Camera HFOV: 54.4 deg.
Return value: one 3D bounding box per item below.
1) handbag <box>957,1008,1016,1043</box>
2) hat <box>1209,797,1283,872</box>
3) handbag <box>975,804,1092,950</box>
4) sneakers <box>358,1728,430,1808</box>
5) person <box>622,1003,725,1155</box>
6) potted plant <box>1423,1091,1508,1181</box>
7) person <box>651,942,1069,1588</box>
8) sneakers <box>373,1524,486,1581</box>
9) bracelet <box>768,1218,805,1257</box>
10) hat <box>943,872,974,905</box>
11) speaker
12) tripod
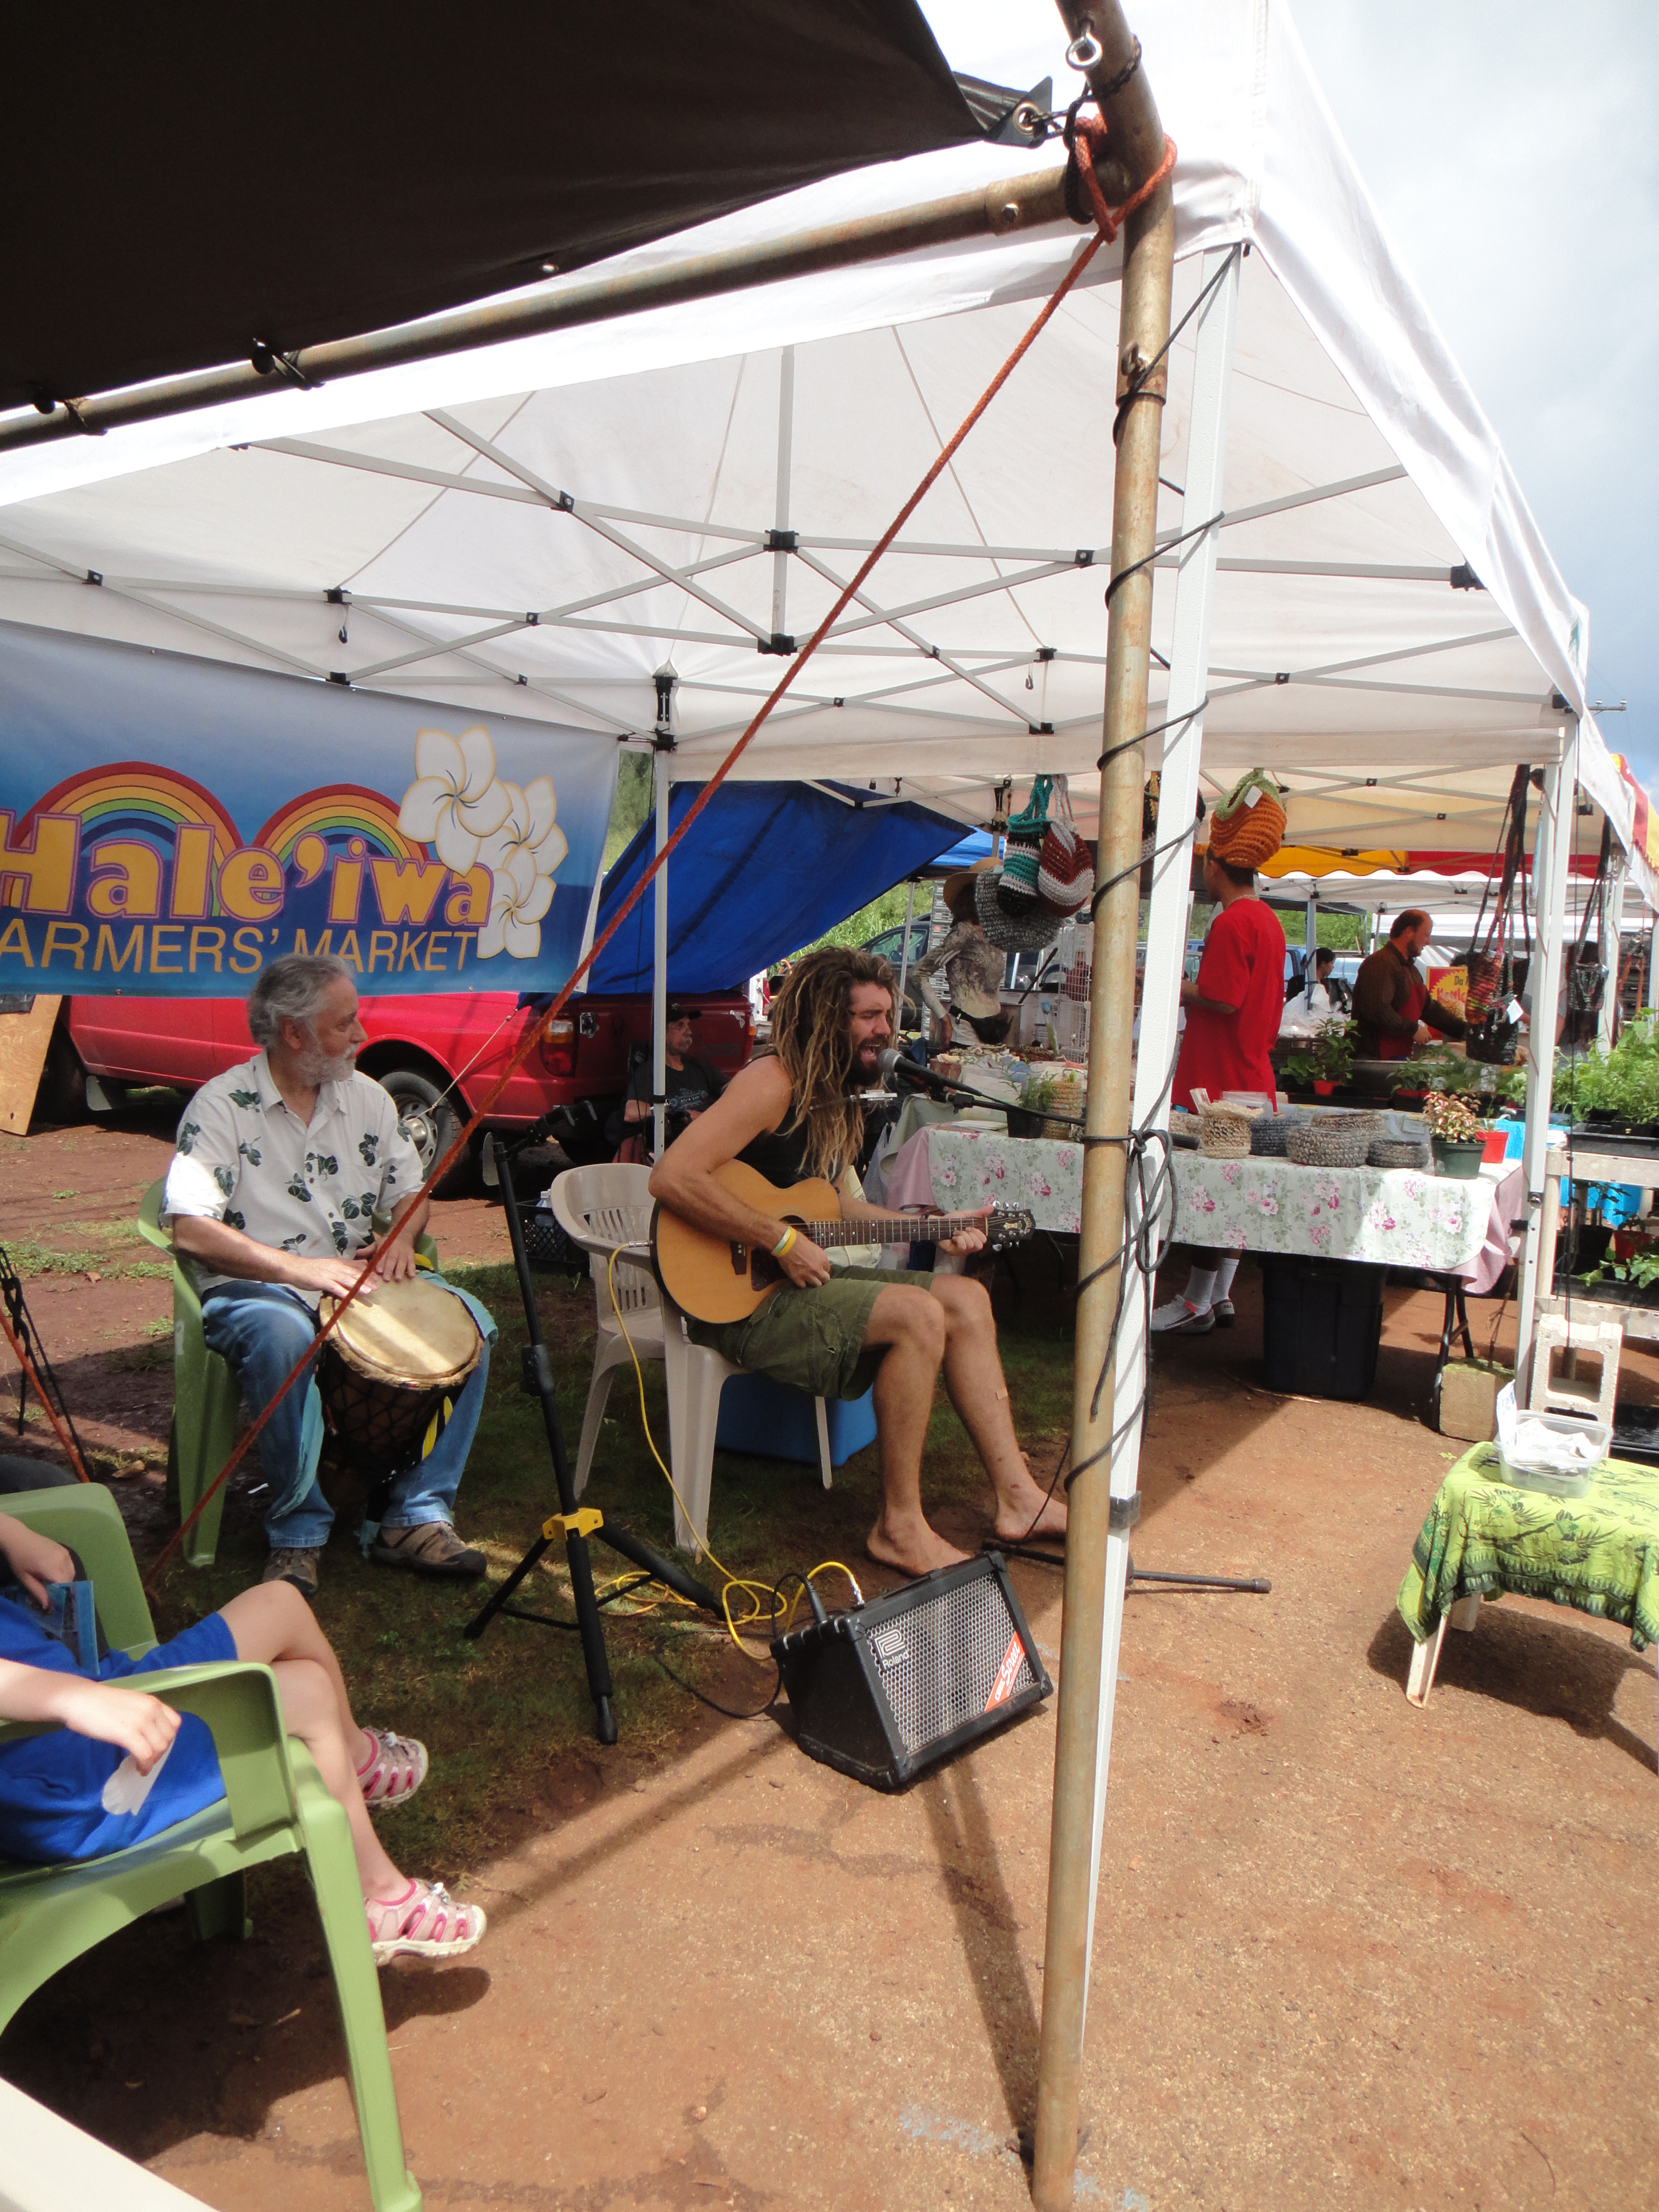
[{"bbox_3d":[0.803,-0.398,8.035,0.174,0.143,0.208,3,10,0],"label":"handbag"},{"bbox_3d":[1.545,-0.980,5.820,0.218,0.272,0.279,4,-1,28],"label":"hat"},{"bbox_3d":[1.080,-1.139,8.014,0.355,0.414,0.905,-3,19,23],"label":"handbag"},{"bbox_3d":[-0.679,1.057,2.573,0.092,0.100,0.222,2,-20,8],"label":"sneakers"},{"bbox_3d":[-0.651,-0.102,7.161,0.537,0.748,0.247,-2,4,-42],"label":"person"},{"bbox_3d":[1.991,0.089,5.042,0.273,0.299,0.347,-1,-1,-15],"label":"potted plant"},{"bbox_3d":[-0.028,0.467,4.919,1.488,2.203,1.146,-3,0,17],"label":"person"},{"bbox_3d":[-0.942,1.047,3.837,0.287,0.129,0.109,1,-10,24],"label":"sneakers"},{"bbox_3d":[-0.107,0.324,3.875,0.076,0.074,0.056,5,6,-29],"label":"bracelet"},{"bbox_3d":[0.695,-1.148,8.361,0.215,0.187,0.254,-2,-4,4],"label":"hat"},{"bbox_3d":[0.098,1.059,3.200,0.553,0.381,0.346,-3,-33,-49],"label":"speaker"},{"bbox_3d":[-0.464,0.610,3.498,0.557,1.159,1.073,4,4,-6],"label":"tripod"}]
